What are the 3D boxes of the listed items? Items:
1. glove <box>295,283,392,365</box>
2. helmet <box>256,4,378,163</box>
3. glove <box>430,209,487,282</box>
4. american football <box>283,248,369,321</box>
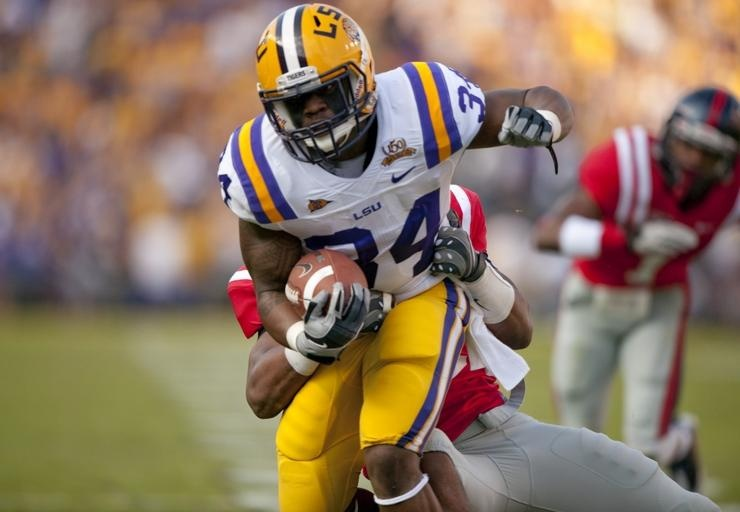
[{"bbox_3d":[-0.151,0.297,5.165,0.202,0.317,0.414,-36,-5,-47],"label":"glove"},{"bbox_3d":[-0.254,-0.804,5.183,0.540,0.664,0.364,-10,26,-6],"label":"helmet"},{"bbox_3d":[0.411,-0.045,5.281,0.217,0.288,0.149,21,76,18],"label":"glove"},{"bbox_3d":[-0.244,0.119,5.217,0.330,0.293,0.274,-9,12,43],"label":"american football"}]
